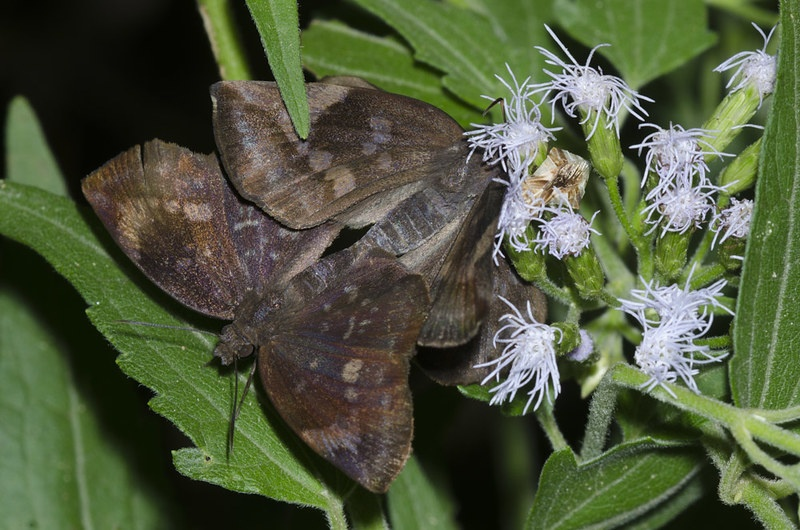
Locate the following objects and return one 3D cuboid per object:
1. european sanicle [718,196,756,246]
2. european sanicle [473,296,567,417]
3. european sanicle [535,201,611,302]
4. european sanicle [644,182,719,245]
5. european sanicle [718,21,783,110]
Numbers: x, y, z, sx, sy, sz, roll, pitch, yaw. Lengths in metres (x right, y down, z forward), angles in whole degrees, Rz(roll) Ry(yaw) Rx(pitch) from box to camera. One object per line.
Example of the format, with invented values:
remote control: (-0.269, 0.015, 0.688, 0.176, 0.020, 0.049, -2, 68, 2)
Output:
european sanicle: (1.352, -0.189, 3.514, 0.153, 0.169, 0.060, 11, -16, 43)
european sanicle: (0.497, 0.357, 3.511, 0.172, 0.439, 0.428, -22, -35, 28)
european sanicle: (0.736, -0.037, 3.598, 0.286, 0.419, 0.253, -12, -11, 0)
european sanicle: (1.126, -0.231, 3.526, 0.296, 0.217, 0.114, -16, -3, 13)
european sanicle: (1.479, -0.854, 3.734, 0.215, 0.375, 0.490, -15, -3, 24)
